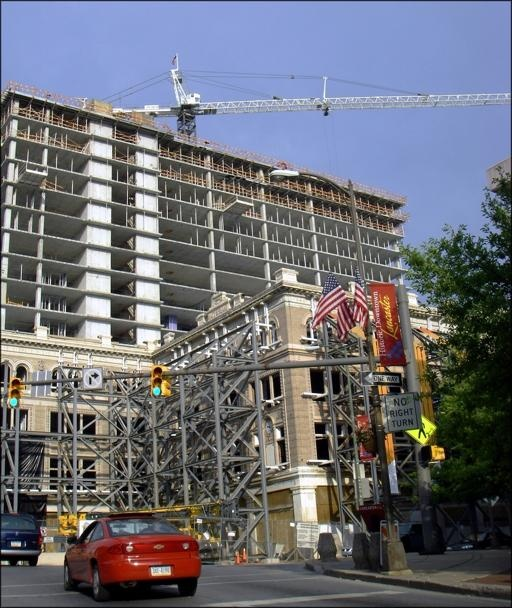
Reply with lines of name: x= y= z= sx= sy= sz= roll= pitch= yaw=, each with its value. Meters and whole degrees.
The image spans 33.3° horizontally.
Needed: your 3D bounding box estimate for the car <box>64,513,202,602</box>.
car: x=-2.458 y=4.758 z=16.337 sx=2.388 sy=1.691 sz=4.796 roll=6 pitch=-20 yaw=-28
